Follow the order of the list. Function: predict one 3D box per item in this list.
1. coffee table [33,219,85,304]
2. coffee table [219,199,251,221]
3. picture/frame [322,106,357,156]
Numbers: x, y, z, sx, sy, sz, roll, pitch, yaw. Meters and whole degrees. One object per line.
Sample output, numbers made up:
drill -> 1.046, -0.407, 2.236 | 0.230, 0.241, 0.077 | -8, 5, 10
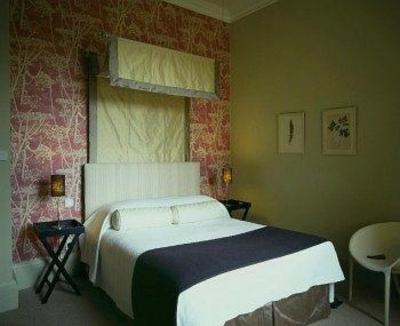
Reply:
coffee table -> -1.678, 1.193, 4.067 | 0.705, 1.143, 0.796 | -1, 4, -24
coffee table -> 0.584, 0.707, 5.252 | 0.346, 0.305, 0.368 | 5, 5, 42
picture/frame -> 1.907, -0.436, 4.274 | 0.043, 0.955, 0.592 | -2, 3, -42
